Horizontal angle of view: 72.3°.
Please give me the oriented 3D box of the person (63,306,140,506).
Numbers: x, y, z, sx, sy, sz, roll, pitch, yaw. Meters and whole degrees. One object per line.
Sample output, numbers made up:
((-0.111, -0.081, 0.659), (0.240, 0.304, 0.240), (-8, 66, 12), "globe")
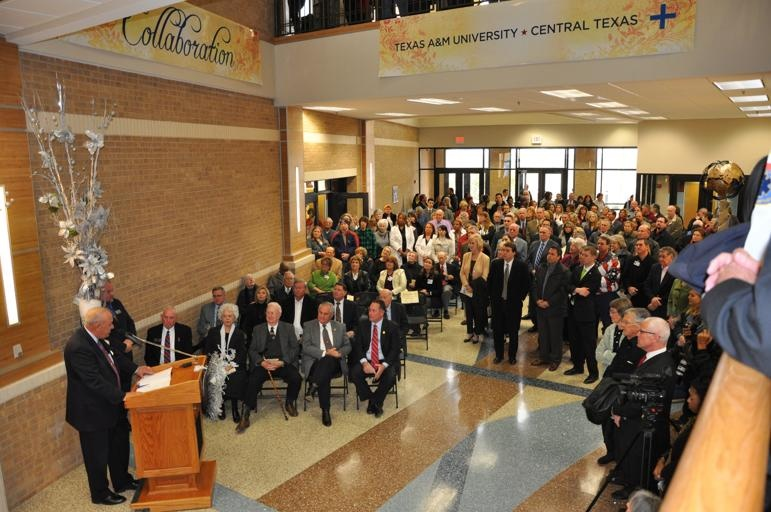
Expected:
((-3.570, 1.887, 6.570), (0.727, 2.431, 0.850), (-11, 17, -30), "person")

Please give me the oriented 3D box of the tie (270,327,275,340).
((-1.840, 1.265, 8.620), (0.101, 0.137, 0.045), (-13, -5, -21), "tie")

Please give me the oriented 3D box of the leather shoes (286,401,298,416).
((-1.488, 2.455, 8.445), (0.134, 0.134, 0.302), (-8, 15, -37), "leather shoes")

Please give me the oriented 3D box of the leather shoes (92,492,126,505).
((-3.430, 3.037, 6.625), (0.402, 0.161, 0.153), (-2, 4, -5), "leather shoes")

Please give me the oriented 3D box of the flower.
((-4.334, -0.903, 7.427), (0.779, 3.036, 1.379), (-6, 15, -17), "flower")

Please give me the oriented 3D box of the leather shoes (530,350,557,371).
((2.999, 2.001, 9.775), (0.583, 0.247, 0.196), (12, -4, -23), "leather shoes")
